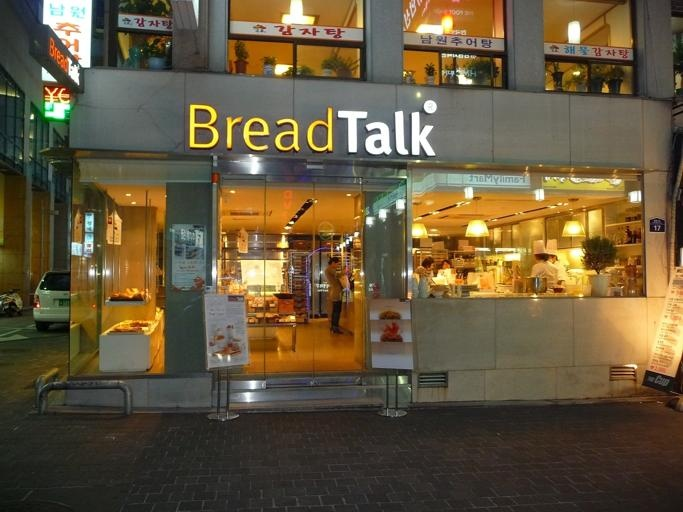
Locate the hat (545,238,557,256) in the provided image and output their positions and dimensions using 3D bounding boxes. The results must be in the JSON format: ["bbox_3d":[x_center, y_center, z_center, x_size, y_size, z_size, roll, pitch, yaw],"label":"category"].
[{"bbox_3d":[3.911,-0.175,12.253,0.196,0.259,0.260,2,-5,13],"label":"hat"}]

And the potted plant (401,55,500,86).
[{"bbox_3d":[1.913,-3.148,11.104,1.723,0.569,0.330,0,10,-4],"label":"potted plant"}]

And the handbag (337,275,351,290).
[{"bbox_3d":[0.059,0.447,11.615,0.062,0.232,0.164,-23,32,-34],"label":"handbag"}]

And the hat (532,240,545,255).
[{"bbox_3d":[3.679,-0.161,12.345,0.223,0.245,0.227,0,-2,-4],"label":"hat"}]

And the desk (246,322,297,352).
[{"bbox_3d":[-1.116,1.363,10.989,0.813,0.409,0.564,-2,10,-13],"label":"desk"}]

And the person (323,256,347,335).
[{"bbox_3d":[-0.116,0.641,11.574,0.308,1.261,0.558,0,10,-2],"label":"person"}]

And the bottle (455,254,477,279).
[{"bbox_3d":[2.678,0.212,14.214,0.399,0.467,0.306,2,10,5],"label":"bottle"}]

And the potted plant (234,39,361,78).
[{"bbox_3d":[-0.727,-3.207,10.780,2.192,0.561,0.352,-1,10,-12],"label":"potted plant"}]

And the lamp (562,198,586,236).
[{"bbox_3d":[4.178,-0.687,11.898,0.404,0.703,0.384,1,-7,15],"label":"lamp"}]

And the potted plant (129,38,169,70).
[{"bbox_3d":[-3.046,-3.265,10.608,0.604,0.379,0.600,1,9,0],"label":"potted plant"}]

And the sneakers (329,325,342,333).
[{"bbox_3d":[-0.078,1.281,11.434,0.233,0.166,0.082,0,-1,-9],"label":"sneakers"}]
